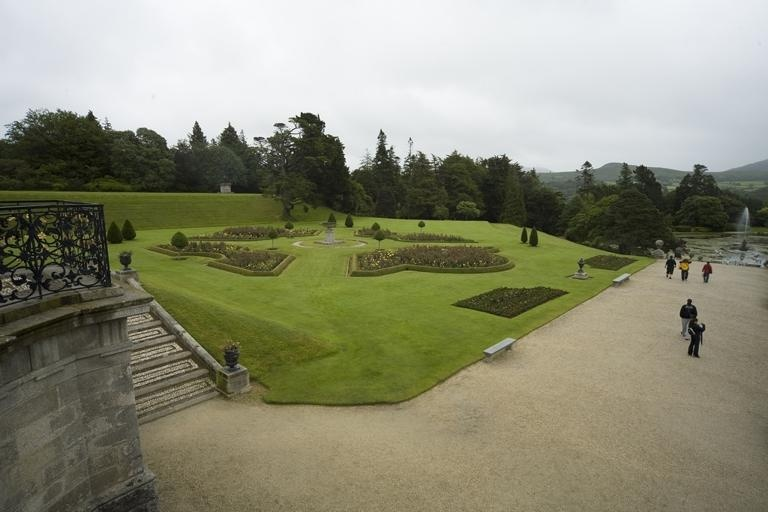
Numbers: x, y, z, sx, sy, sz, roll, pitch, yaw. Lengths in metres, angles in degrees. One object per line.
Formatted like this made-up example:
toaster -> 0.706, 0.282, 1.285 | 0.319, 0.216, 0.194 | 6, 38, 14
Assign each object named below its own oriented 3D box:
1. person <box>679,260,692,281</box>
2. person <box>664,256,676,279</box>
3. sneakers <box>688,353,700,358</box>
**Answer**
person -> 18.922, 0.860, 25.261 | 0.390, 1.427, 2.143 | 13, 16, 40
person -> 19.404, 0.631, 27.129 | 0.430, 1.484, 2.366 | 11, 15, 36
sneakers -> 11.125, 3.537, 14.303 | 0.392, 0.136, 0.225 | 2, 12, 1
